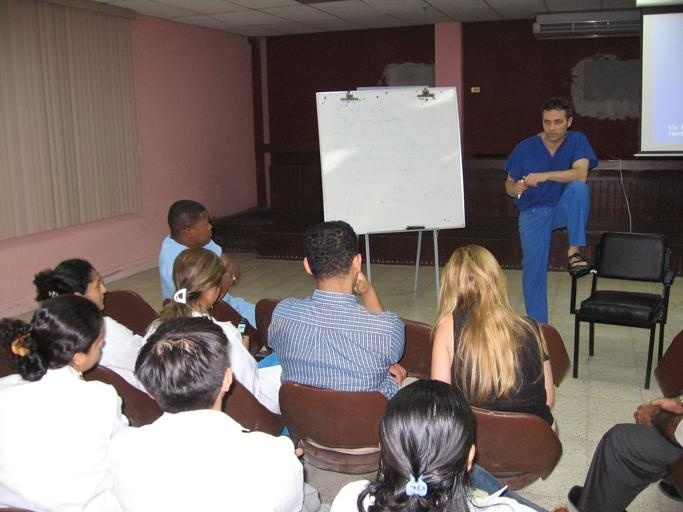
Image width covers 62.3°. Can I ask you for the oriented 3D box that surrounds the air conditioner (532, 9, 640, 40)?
[{"bbox_3d":[3.228,-3.089,7.473,1.321,0.306,0.231,1,12,10],"label":"air conditioner"}]

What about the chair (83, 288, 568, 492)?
[{"bbox_3d":[-0.047,0.474,1.980,0.931,0.384,0.311,9,37,15],"label":"chair"}]

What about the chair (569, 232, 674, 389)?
[{"bbox_3d":[1.878,0.332,3.813,0.593,0.944,0.675,6,14,30],"label":"chair"}]

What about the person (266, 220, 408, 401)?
[{"bbox_3d":[0.013,0.263,3.103,0.706,1.014,0.738,8,34,12],"label":"person"}]

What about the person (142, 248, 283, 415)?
[{"bbox_3d":[-0.571,0.324,2.571,0.526,0.752,0.556,11,27,16],"label":"person"}]

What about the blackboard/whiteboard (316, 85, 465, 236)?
[{"bbox_3d":[0.439,-0.720,4.579,1.228,1.252,0.362,-2,7,-5],"label":"blackboard/whiteboard"}]

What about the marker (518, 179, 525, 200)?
[{"bbox_3d":[1.319,-0.487,4.139,0.044,0.170,0.050,17,43,24],"label":"marker"}]
